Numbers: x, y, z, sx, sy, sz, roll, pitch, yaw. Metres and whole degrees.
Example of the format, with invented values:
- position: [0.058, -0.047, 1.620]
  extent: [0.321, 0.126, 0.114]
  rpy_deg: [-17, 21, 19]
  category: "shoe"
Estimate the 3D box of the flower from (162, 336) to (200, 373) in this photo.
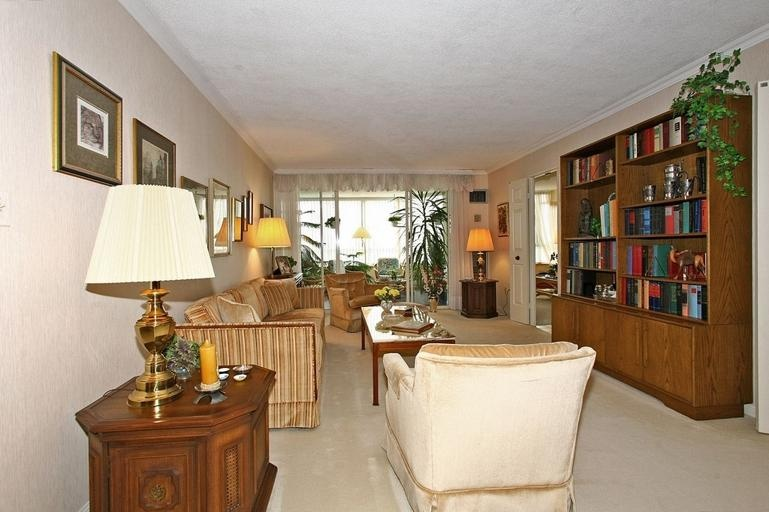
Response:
- position: [-1.360, 0.665, 3.223]
  extent: [0.234, 0.109, 0.232]
  rpy_deg: [8, 10, -45]
  category: "flower"

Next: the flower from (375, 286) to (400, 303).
- position: [-0.004, 0.446, 5.530]
  extent: [0.320, 0.223, 0.319]
  rpy_deg: [-2, 0, 13]
  category: "flower"

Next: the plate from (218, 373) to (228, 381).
- position: [-1.071, 0.813, 3.189]
  extent: [0.063, 0.030, 0.086]
  rpy_deg: [2, -2, -1]
  category: "plate"

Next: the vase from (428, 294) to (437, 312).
- position: [0.886, 0.882, 8.793]
  extent: [0.262, 0.362, 0.258]
  rpy_deg: [0, -1, 1]
  category: "vase"

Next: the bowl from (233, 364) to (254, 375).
- position: [-0.989, 0.787, 3.315]
  extent: [0.079, 0.027, 0.078]
  rpy_deg: [0, 3, 0]
  category: "bowl"

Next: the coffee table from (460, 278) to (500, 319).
- position: [1.599, 0.732, 8.142]
  extent: [0.646, 0.604, 0.635]
  rpy_deg: [0, -1, -5]
  category: "coffee table"

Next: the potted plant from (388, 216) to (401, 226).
- position: [0.197, -0.654, 9.116]
  extent: [0.194, 0.133, 0.191]
  rpy_deg: [2, 2, -1]
  category: "potted plant"

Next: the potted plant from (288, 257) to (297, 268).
- position: [-1.652, 0.112, 8.625]
  extent: [0.149, 0.145, 0.054]
  rpy_deg: [-10, 10, -29]
  category: "potted plant"

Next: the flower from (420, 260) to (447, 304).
- position: [0.919, 0.549, 8.938]
  extent: [0.497, 0.820, 0.480]
  rpy_deg: [0, 14, 2]
  category: "flower"

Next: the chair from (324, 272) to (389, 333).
- position: [-0.543, 0.671, 7.463]
  extent: [0.991, 0.904, 0.847]
  rpy_deg: [0, 0, -40]
  category: "chair"

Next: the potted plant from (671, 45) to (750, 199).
- position: [2.834, -1.149, 4.141]
  extent: [0.639, 1.246, 0.651]
  rpy_deg: [10, 18, 37]
  category: "potted plant"

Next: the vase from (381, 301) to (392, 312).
- position: [0.025, 0.579, 5.449]
  extent: [0.113, 0.105, 0.111]
  rpy_deg: [-1, 5, -7]
  category: "vase"
